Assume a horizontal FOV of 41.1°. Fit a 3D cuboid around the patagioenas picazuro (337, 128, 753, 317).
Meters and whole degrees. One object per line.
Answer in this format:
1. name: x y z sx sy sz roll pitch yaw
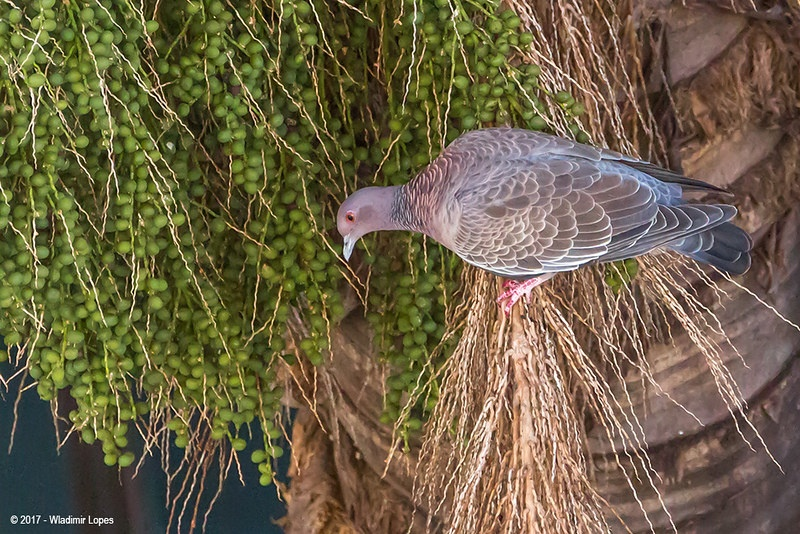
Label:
1. patagioenas picazuro: 0.498 -0.154 3.409 1.337 0.535 0.544 -9 -35 22
